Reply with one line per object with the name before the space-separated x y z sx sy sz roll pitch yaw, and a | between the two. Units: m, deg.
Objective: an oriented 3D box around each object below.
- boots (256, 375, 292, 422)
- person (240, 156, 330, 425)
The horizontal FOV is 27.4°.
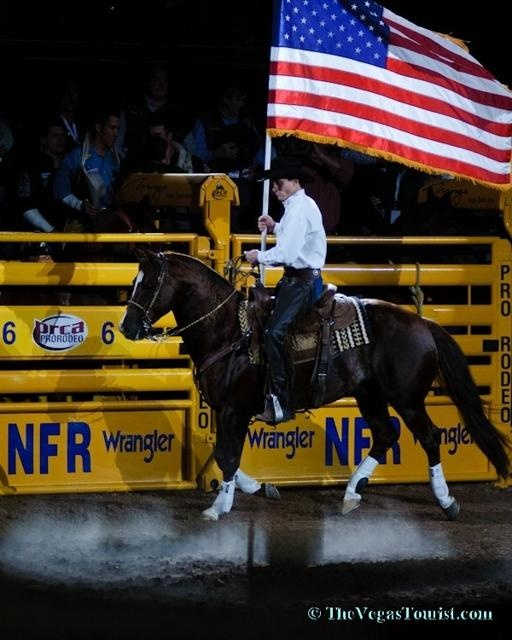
boots | 0.058 0.598 7.346 0.329 0.313 0.188 -1 3 -7
person | 0.184 -0.171 7.276 0.538 1.685 0.964 4 31 4
